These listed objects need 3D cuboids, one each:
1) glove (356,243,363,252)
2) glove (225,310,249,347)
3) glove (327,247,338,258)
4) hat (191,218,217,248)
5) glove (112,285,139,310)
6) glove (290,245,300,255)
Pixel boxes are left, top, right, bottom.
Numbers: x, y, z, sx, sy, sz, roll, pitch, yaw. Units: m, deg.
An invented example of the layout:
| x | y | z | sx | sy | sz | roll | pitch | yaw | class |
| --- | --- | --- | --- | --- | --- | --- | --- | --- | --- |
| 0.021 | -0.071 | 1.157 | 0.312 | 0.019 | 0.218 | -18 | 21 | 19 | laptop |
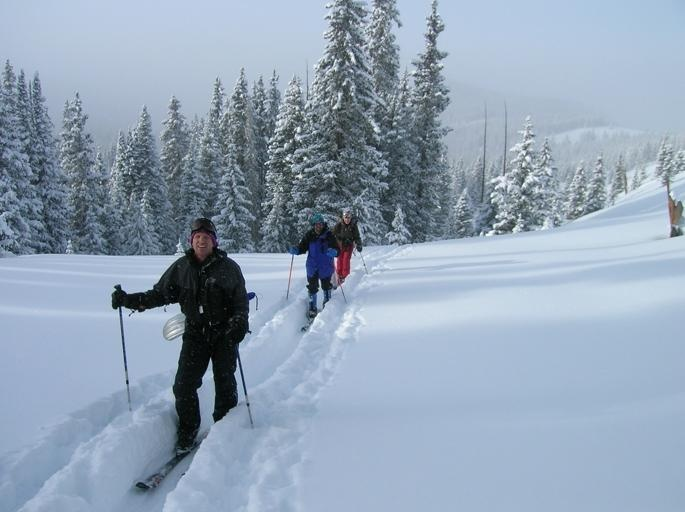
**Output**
| x | y | z | sx | sy | sz | roll | pitch | yaw | class |
| --- | --- | --- | --- | --- | --- | --- | --- | --- | --- |
| 0.573 | -0.308 | 23.932 | 0.165 | 0.281 | 0.245 | -3 | -3 | 5 | glove |
| -2.567 | 1.754 | 17.727 | 0.468 | 0.758 | 0.228 | 5 | 5 | -1 | glove |
| -0.300 | -0.118 | 22.270 | 0.324 | 0.258 | 0.252 | -6 | 12 | 0 | glove |
| -3.403 | -0.610 | 17.901 | 0.518 | 0.804 | 0.355 | 0 | 11 | -3 | hat |
| -5.442 | 1.048 | 18.029 | 0.698 | 0.470 | 0.436 | 17 | -35 | -24 | glove |
| -1.498 | -0.176 | 22.533 | 0.270 | 0.312 | 0.212 | -7 | 17 | -34 | glove |
